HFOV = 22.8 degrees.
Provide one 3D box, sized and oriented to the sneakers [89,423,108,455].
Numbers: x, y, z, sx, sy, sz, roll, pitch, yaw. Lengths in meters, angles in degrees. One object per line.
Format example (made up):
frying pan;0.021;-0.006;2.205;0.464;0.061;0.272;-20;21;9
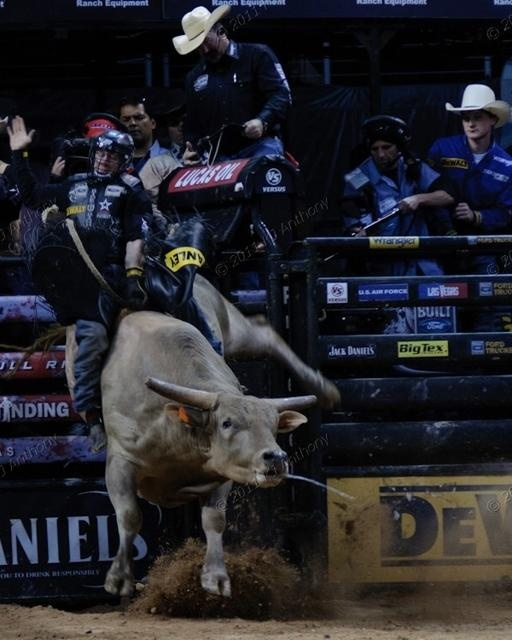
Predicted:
sneakers;-1.067;0.801;8.562;0.148;0.199;0.068;-6;-2;0

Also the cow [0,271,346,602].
cow;-0.536;0.781;8.236;1.812;2.044;2.379;-4;4;-18

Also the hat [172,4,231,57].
hat;-0.433;-2.337;10.157;0.299;0.388;0.595;-5;5;-27

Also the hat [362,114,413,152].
hat;1.069;-1.519;10.300;0.321;0.316;0.241;1;45;22

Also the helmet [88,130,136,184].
helmet;-1.021;-1.154;8.813;0.324;0.291;0.339;14;12;13
